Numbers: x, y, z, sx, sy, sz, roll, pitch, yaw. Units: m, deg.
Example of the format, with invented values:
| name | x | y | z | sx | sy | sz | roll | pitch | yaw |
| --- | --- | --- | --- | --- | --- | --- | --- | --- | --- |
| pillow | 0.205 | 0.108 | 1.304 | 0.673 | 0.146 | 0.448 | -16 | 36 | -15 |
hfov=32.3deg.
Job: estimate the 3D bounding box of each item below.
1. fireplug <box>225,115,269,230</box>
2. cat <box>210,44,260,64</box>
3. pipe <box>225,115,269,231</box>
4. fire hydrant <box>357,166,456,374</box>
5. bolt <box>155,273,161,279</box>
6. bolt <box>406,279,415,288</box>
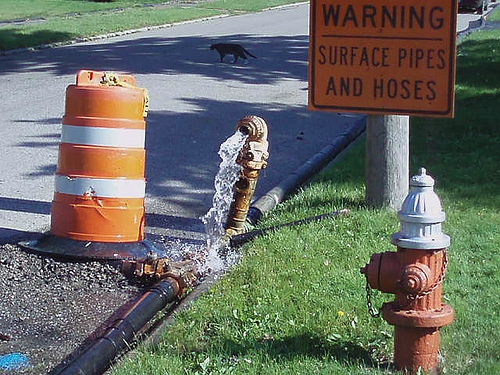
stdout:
| name | x | y | z | sx | sy | sz | roll | pitch | yaw |
| --- | --- | --- | --- | --- | --- | --- | --- | --- | --- |
| fireplug | -0.041 | -0.047 | 8.572 | 0.439 | 1.284 | 0.343 | 5 | 13 | -30 |
| cat | -0.516 | -3.296 | 21.279 | 0.862 | 0.484 | 0.933 | -1 | 10 | -4 |
| pipe | -0.043 | -0.044 | 8.556 | 0.399 | 1.251 | 0.323 | 9 | 7 | -20 |
| fire hydrant | 1.159 | 0.625 | 6.331 | 0.627 | 1.508 | 0.302 | 2 | 11 | 12 |
| bolt | -0.820 | 0.791 | 7.681 | 0.045 | 0.032 | 0.043 | 6 | 56 | 17 |
| bolt | 1.145 | 0.698 | 6.250 | 0.056 | 0.053 | 0.050 | 8 | -15 | 5 |
